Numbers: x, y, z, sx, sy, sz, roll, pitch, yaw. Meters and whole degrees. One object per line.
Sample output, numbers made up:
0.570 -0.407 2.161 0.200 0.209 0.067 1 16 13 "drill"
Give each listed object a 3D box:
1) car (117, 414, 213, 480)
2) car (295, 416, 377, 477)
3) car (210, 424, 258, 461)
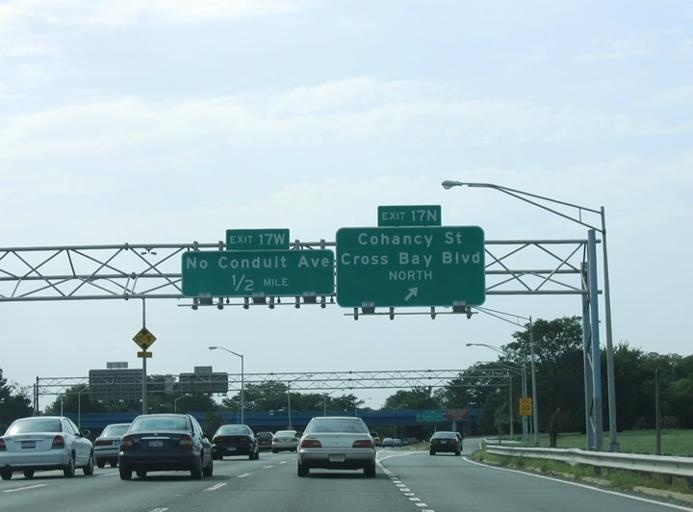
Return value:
-7.395 7.926 59.412 3.221 2.704 7.902 -1 -7 0 "car"
-0.326 7.755 58.010 3.057 2.450 1.319 0 -10 -5 "car"
-5.708 9.661 74.275 2.352 1.928 2.604 0 -11 -6 "car"
